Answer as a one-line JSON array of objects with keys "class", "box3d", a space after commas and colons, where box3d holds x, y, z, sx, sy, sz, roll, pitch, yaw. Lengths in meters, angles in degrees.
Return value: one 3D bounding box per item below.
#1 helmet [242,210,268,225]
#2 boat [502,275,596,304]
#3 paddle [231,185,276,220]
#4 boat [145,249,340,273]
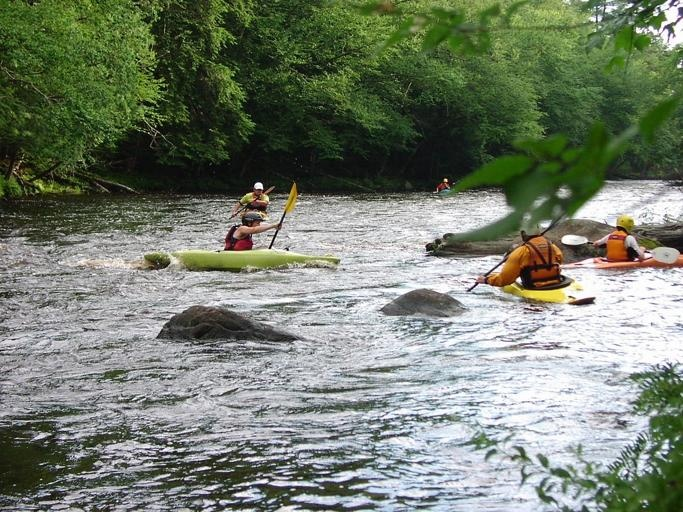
[{"class": "helmet", "box3d": [-1.627, -0.680, 12.830, 0.333, 0.225, 0.362, -2, 11, -8]}, {"class": "boat", "box3d": [2.795, 0.461, 9.484, 0.931, 0.241, 0.842, 0, 9, -3]}, {"class": "paddle", "box3d": [-2.299, -1.325, 18.187, 1.176, 0.623, 1.505, -14, 25, -12]}, {"class": "boat", "box3d": [-2.410, 0.074, 12.187, 5.239, 0.402, 0.794, 0, 4, -6]}]
